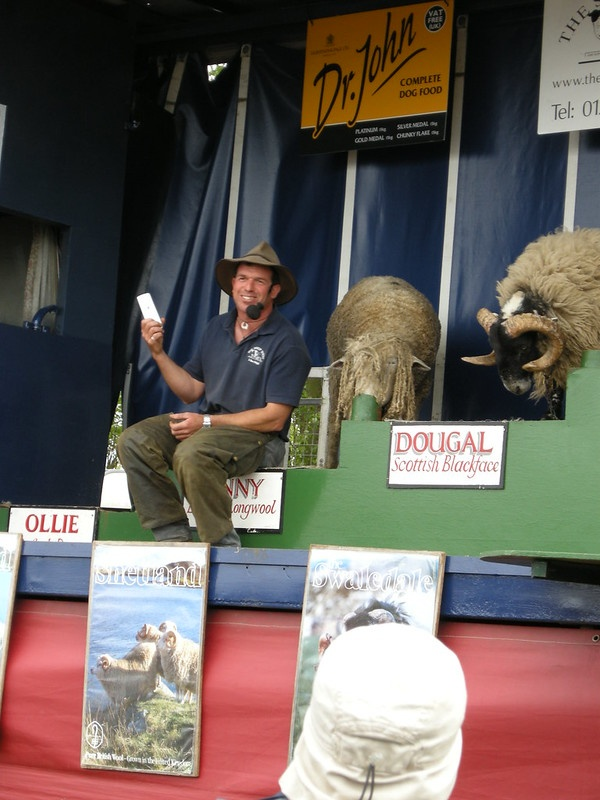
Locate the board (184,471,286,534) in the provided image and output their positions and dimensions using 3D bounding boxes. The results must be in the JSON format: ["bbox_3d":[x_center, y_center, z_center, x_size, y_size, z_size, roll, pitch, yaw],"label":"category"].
[{"bbox_3d":[-0.278,0.459,3.041,0.335,0.220,0.035,-7,-15,26],"label":"board"}]

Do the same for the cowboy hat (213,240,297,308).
[{"bbox_3d":[-0.236,-0.671,3.705,0.425,0.223,0.419,10,-28,5],"label":"cowboy hat"}]

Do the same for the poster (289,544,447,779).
[{"bbox_3d":[0.229,0.848,2.316,0.451,0.749,0.035,0,15,1],"label":"poster"}]

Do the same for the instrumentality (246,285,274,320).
[{"bbox_3d":[-0.197,-0.458,3.386,0.041,0.054,0.190,-27,16,42],"label":"instrumentality"}]

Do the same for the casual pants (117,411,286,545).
[{"bbox_3d":[-0.422,0.337,3.224,0.753,0.631,0.563,-7,10,-33],"label":"casual pants"}]

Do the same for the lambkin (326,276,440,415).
[{"bbox_3d":[0.516,-0.367,4.222,0.538,0.800,1.132,3,20,6],"label":"lambkin"}]
